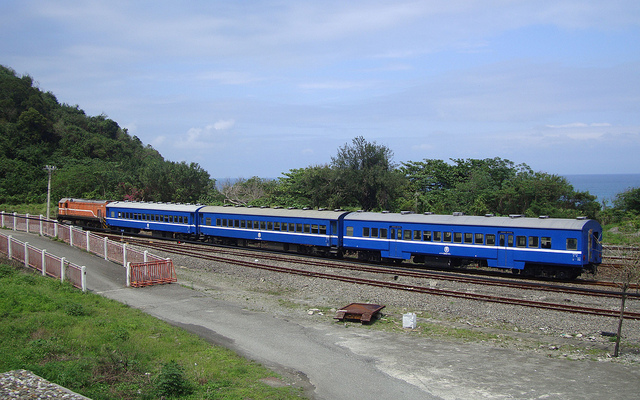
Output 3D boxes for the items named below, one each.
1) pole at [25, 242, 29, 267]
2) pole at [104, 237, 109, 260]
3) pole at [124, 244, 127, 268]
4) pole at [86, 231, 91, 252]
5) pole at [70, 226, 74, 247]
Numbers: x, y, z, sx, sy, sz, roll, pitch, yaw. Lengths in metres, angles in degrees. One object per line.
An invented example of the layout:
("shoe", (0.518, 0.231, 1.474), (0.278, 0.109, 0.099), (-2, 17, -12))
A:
("pole", (-20.627, 3.794, 35.987), (0.284, 1.511, 0.738), (-6, 16, -29))
("pole", (-16.144, 3.639, 38.664), (0.265, 1.501, 0.685), (-4, 16, -23))
("pole", (-14.087, 4.031, 36.949), (0.145, 1.510, 0.584), (-4, 15, -21))
("pole", (-18.228, 3.244, 40.399), (0.313, 1.475, 0.689), (-5, 16, -24))
("pole", (-20.455, 2.897, 42.143), (0.232, 1.492, 0.768), (-5, 16, -26))
